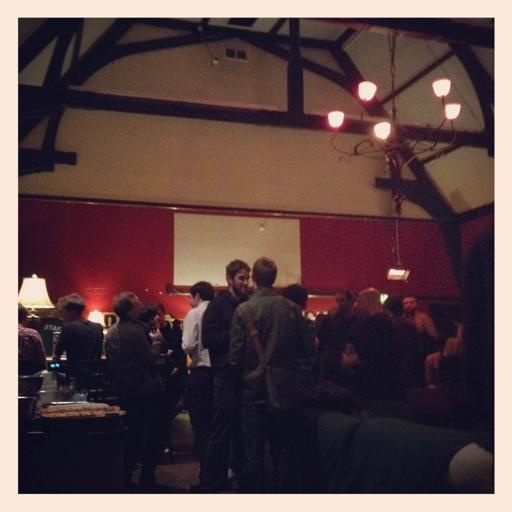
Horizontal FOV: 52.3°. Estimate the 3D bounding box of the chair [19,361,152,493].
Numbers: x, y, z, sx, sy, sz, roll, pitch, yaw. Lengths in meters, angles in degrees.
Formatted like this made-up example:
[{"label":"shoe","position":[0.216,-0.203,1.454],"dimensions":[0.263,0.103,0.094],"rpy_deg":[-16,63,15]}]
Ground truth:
[{"label":"chair","position":[-1.009,1.038,3.333],"dimensions":[0.781,0.978,0.649],"rpy_deg":[1,-1,-5]}]
